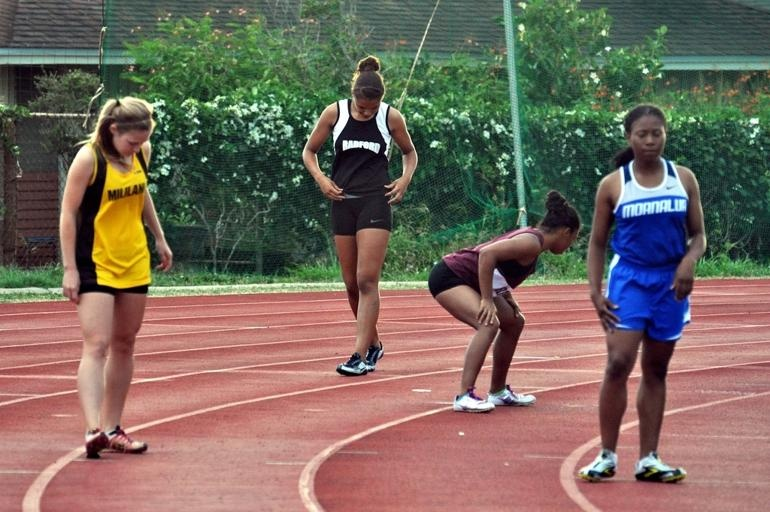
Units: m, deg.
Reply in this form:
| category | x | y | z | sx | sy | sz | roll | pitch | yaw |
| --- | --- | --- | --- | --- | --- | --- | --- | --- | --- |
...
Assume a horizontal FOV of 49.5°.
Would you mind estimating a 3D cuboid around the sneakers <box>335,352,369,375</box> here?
| category | x | y | z | sx | sy | sz | roll | pitch | yaw |
| --- | --- | --- | --- | --- | --- | --- | --- | --- | --- |
| sneakers | -0.284 | 0.978 | 7.509 | 0.342 | 0.163 | 0.131 | 9 | -4 | -42 |

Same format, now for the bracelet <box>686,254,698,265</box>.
| category | x | y | z | sx | sy | sz | roll | pitch | yaw |
| --- | --- | --- | --- | --- | --- | --- | --- | --- | --- |
| bracelet | 1.778 | 0.028 | 4.879 | 0.083 | 0.082 | 0.047 | 0 | 3 | 34 |

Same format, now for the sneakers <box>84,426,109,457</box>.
| category | x | y | z | sx | sy | sz | roll | pitch | yaw |
| --- | --- | --- | --- | --- | --- | --- | --- | --- | --- |
| sneakers | -1.787 | 1.141 | 5.155 | 0.106 | 0.230 | 0.106 | 11 | 48 | -19 |

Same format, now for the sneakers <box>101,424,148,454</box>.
| category | x | y | z | sx | sy | sz | roll | pitch | yaw |
| --- | --- | --- | --- | --- | --- | --- | --- | --- | --- |
| sneakers | -1.692 | 1.171 | 5.341 | 0.348 | 0.158 | 0.118 | 4 | 2 | 5 |

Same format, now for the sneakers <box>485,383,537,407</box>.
| category | x | y | z | sx | sy | sz | roll | pitch | yaw |
| --- | --- | --- | --- | --- | --- | --- | --- | --- | --- |
| sneakers | 0.988 | 1.093 | 6.634 | 0.447 | 0.198 | 0.147 | -1 | 3 | -2 |

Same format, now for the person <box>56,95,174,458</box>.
| category | x | y | z | sx | sy | sz | roll | pitch | yaw |
| --- | --- | --- | --- | --- | --- | --- | --- | --- | --- |
| person | -1.735 | 0.133 | 5.196 | 0.537 | 2.227 | 0.414 | 0 | 6 | -21 |

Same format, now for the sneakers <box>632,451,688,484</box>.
| category | x | y | z | sx | sy | sz | roll | pitch | yaw |
| --- | --- | --- | --- | --- | --- | --- | --- | --- | --- |
| sneakers | 1.598 | 1.244 | 4.966 | 0.358 | 0.184 | 0.132 | 1 | -6 | 5 |

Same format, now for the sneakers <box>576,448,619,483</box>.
| category | x | y | z | sx | sy | sz | roll | pitch | yaw |
| --- | --- | --- | --- | --- | --- | --- | --- | --- | --- |
| sneakers | 1.257 | 1.213 | 4.949 | 0.307 | 0.164 | 0.119 | -14 | 26 | -33 |

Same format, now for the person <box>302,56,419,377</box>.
| category | x | y | z | sx | sy | sz | roll | pitch | yaw |
| --- | --- | --- | --- | --- | --- | --- | --- | --- | --- |
| person | -0.206 | -0.392 | 7.649 | 0.866 | 2.894 | 0.727 | 0 | 6 | -19 |

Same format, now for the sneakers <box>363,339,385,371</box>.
| category | x | y | z | sx | sy | sz | roll | pitch | yaw |
| --- | --- | --- | --- | --- | --- | --- | --- | --- | --- |
| sneakers | -0.109 | 0.931 | 7.719 | 0.103 | 0.126 | 0.302 | -1 | 11 | 19 |

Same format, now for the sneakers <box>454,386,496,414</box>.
| category | x | y | z | sx | sy | sz | roll | pitch | yaw |
| --- | --- | --- | --- | --- | --- | --- | --- | --- | --- |
| sneakers | 0.662 | 1.116 | 6.379 | 0.361 | 0.177 | 0.136 | 0 | 0 | 2 |

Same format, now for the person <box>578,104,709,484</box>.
| category | x | y | z | sx | sy | sz | roll | pitch | yaw |
| --- | --- | --- | --- | --- | --- | --- | --- | --- | --- |
| person | 1.515 | 0.219 | 4.909 | 0.652 | 2.192 | 0.415 | 3 | 6 | 14 |
